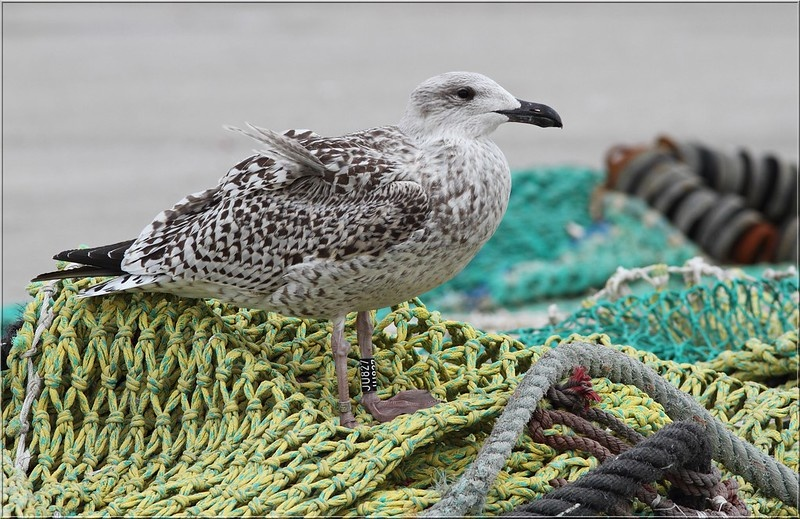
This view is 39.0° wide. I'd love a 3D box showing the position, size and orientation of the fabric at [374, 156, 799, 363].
[{"bbox_3d":[1.459,0.029,7.710,2.299,0.841,1.542,3,-1,-25],"label":"fabric"}]
